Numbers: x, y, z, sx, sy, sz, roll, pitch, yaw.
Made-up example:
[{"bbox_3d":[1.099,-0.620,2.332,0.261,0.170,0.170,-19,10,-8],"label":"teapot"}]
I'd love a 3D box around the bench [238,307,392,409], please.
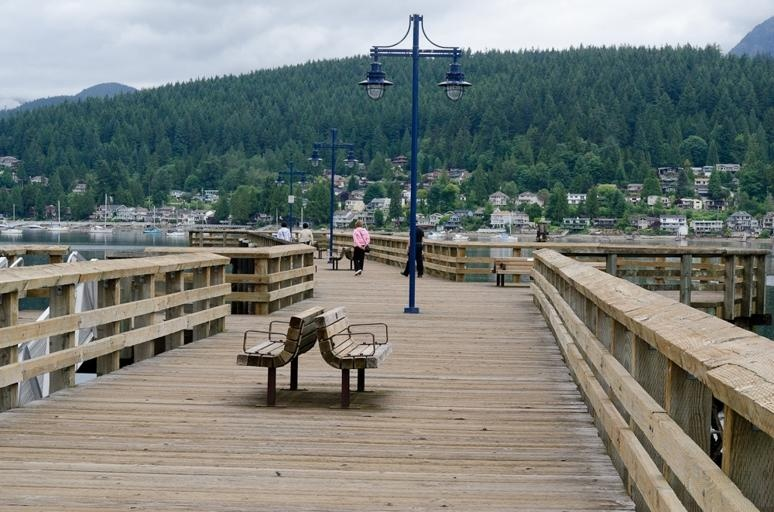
[{"bbox_3d":[-0.709,0.944,10.745,1.218,0.733,1.357,0,-2,8],"label":"bench"}]

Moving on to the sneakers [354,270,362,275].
[{"bbox_3d":[-0.714,0.425,26.761,0.109,0.130,0.301,5,0,-6],"label":"sneakers"}]
